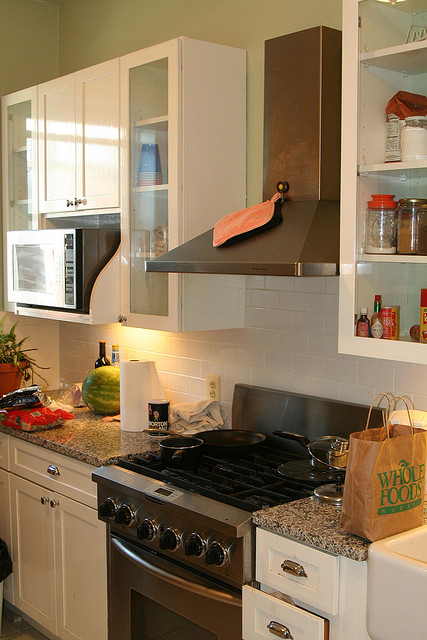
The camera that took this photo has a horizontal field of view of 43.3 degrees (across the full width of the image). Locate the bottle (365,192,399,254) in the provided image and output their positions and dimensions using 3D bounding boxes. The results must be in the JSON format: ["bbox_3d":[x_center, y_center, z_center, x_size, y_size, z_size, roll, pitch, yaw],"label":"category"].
[{"bbox_3d":[0.429,-0.249,1.381,0.024,0.154,0.108,-3,5,-29],"label":"bottle"}]

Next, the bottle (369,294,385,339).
[{"bbox_3d":[0.423,-0.012,1.401,0.012,0.113,0.049,-2,4,-27],"label":"bottle"}]

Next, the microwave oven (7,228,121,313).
[{"bbox_3d":[-0.703,-0.232,2.411,0.566,0.438,0.389,7,11,38],"label":"microwave oven"}]

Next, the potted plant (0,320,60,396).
[{"bbox_3d":[-1.089,0.226,3.023,0.245,0.435,0.618,-1,4,-2],"label":"potted plant"}]

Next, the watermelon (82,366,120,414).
[{"bbox_3d":[-0.557,0.345,2.640,0.227,0.239,0.300,-8,-8,36],"label":"watermelon"}]

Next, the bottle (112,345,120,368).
[{"bbox_3d":[-0.501,0.182,2.752,0.028,0.112,0.055,-1,4,-1],"label":"bottle"}]
